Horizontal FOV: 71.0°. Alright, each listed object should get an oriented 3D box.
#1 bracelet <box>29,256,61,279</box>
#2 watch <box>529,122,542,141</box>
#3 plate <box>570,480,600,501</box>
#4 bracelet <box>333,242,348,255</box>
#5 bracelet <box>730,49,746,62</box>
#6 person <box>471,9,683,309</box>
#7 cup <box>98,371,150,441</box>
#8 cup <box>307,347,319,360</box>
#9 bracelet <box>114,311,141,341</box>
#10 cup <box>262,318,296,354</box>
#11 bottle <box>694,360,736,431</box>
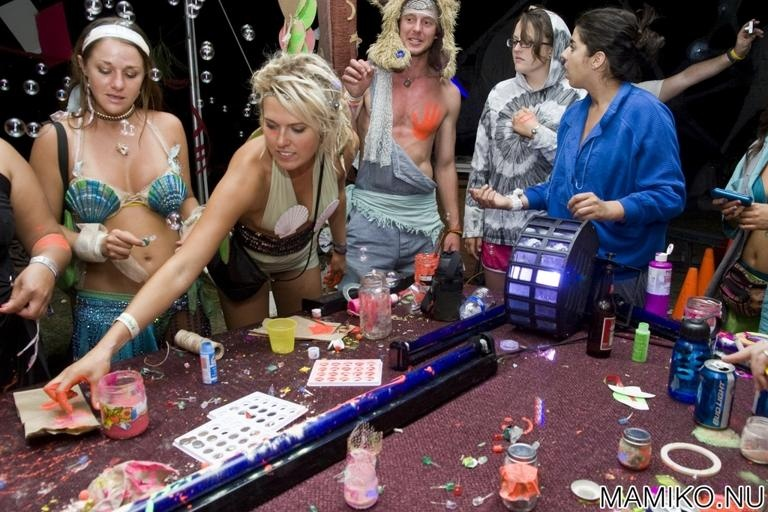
[{"bbox_3d":[-1.630,0.055,2.605,0.112,0.117,0.098,-6,-14,16],"label":"bracelet"},{"bbox_3d":[1.060,-0.877,3.797,0.053,0.123,0.088,8,7,7],"label":"watch"},{"bbox_3d":[0.691,0.809,1.846,0.098,0.021,0.073,7,24,15],"label":"plate"},{"bbox_3d":[-0.299,-0.048,3.707,0.075,0.058,0.074,0,7,-35],"label":"bracelet"},{"bbox_3d":[3.167,-1.795,4.835,0.136,0.122,0.467,14,27,29],"label":"bracelet"},{"bbox_3d":[1.217,-0.530,3.064,0.925,1.618,0.729,15,27,30],"label":"person"},{"bbox_3d":[-1.029,0.578,2.087,0.186,0.193,0.212,-10,25,-22],"label":"cup"},{"bbox_3d":[-0.332,0.458,2.508,0.048,0.038,0.050,2,10,0],"label":"cup"},{"bbox_3d":[-1.106,0.294,2.324,0.105,0.108,0.045,21,46,33],"label":"bracelet"},{"bbox_3d":[-0.510,0.387,2.606,0.143,0.117,0.146,2,24,-1],"label":"cup"},{"bbox_3d":[1.286,0.544,2.094,0.147,0.226,0.147,0,23,0],"label":"bottle"}]
